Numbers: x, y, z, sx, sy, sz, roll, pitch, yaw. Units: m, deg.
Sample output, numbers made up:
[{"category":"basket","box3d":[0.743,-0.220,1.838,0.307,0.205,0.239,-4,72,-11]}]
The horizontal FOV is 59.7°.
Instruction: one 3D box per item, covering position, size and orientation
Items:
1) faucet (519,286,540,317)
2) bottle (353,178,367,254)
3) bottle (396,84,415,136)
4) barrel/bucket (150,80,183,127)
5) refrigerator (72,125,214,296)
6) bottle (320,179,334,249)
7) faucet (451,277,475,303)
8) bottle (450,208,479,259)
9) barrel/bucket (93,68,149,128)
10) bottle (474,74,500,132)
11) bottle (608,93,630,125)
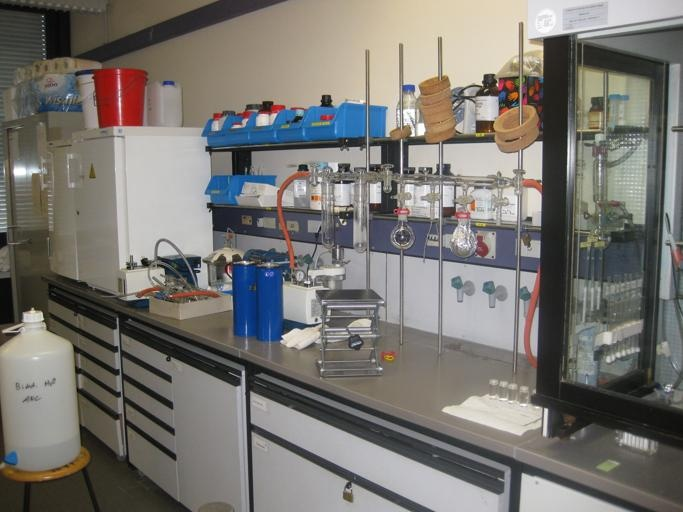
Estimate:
[{"category":"faucet","box3d":[0.834,0.215,2.649,0.067,0.128,0.153,1,12,12]},{"category":"bottle","box3d":[0.093,-0.201,2.864,0.063,0.341,0.126,-1,11,1]},{"category":"bottle","box3d":[0.326,-0.714,2.922,0.090,0.244,0.387,0,13,8]},{"category":"barrel/bucket","box3d":[-1.312,-1.118,4.412,0.260,0.316,0.215,-5,12,-17]},{"category":"refrigerator","box3d":[-1.544,-0.361,4.722,0.987,1.613,1.101,-1,3,-36]},{"category":"bottle","box3d":[-0.067,-0.222,2.964,0.060,0.344,0.167,-2,11,-2]},{"category":"faucet","box3d":[0.593,0.160,2.906,0.112,0.156,0.103,-4,4,-34]},{"category":"bottle","box3d":[0.506,-0.096,2.461,0.097,0.194,0.174,1,12,11]},{"category":"barrel/bucket","box3d":[-1.538,-1.041,4.281,0.421,0.444,0.423,0,4,0]},{"category":"bottle","box3d":[0.635,-0.663,2.594,0.102,0.252,0.151,1,12,13]},{"category":"bottle","box3d":[0.842,-0.443,1.808,0.065,0.096,0.014,-6,12,-19]}]
